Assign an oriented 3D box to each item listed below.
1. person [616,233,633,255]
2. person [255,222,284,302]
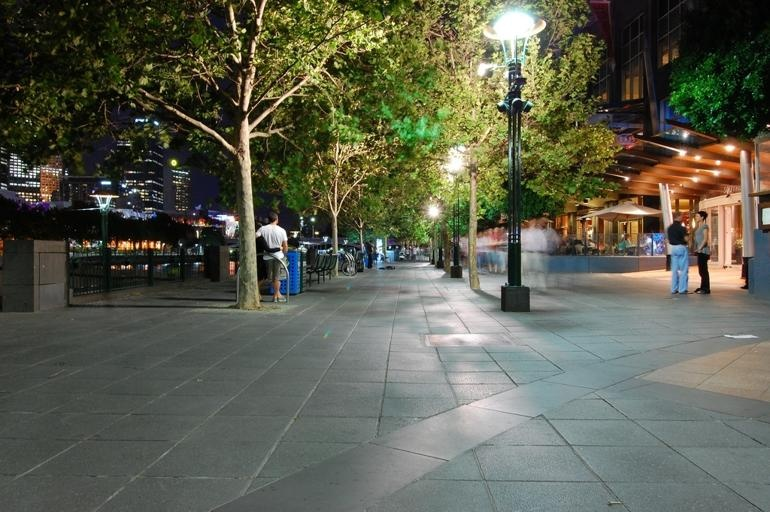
[{"bbox_3d":[13.045,-0.647,33.519,0.776,1.070,0.239,-1,6,-5],"label":"person"},{"bbox_3d":[-3.042,0.044,16.629,0.775,2.450,1.572,-2,6,-11],"label":"person"}]
